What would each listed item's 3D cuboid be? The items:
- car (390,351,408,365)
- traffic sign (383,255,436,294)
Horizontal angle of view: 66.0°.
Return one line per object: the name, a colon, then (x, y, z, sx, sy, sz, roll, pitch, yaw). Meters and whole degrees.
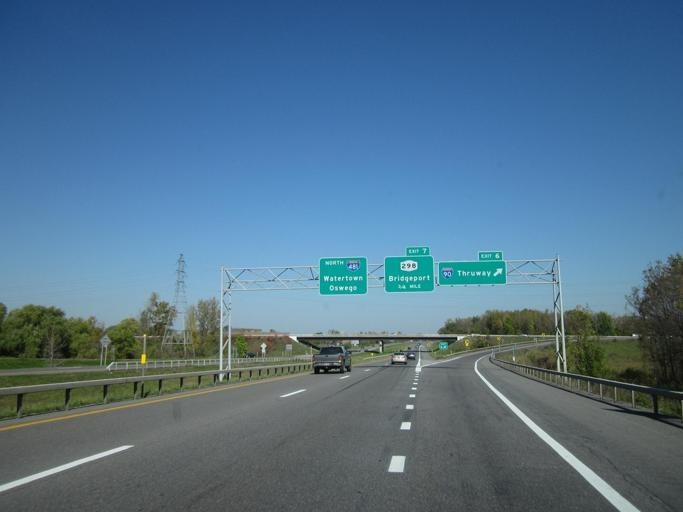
car: (6.786, 12.000, 62.574, 1.762, 1.384, 1.616, 1, -12, -11)
traffic sign: (4.742, 1.280, 35.858, 2.278, 2.011, 0.114, -1, -11, 9)
